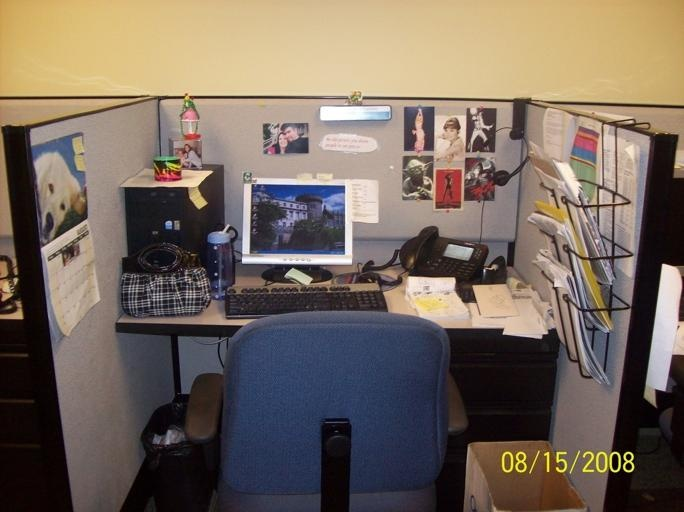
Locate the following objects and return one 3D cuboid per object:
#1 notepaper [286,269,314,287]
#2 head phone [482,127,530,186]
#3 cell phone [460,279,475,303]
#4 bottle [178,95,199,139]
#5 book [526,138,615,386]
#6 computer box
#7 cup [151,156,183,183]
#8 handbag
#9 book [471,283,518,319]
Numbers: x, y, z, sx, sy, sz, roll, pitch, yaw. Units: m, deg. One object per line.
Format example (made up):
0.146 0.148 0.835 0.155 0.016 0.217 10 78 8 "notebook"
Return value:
-0.172 0.083 2.133 0.061 0.023 0.082 -11 34 -45 "notepaper"
0.672 -0.394 2.165 0.147 0.237 0.129 2 14 10 "head phone"
0.468 0.138 2.026 0.054 0.018 0.077 5 42 6 "cell phone"
-0.614 -0.553 2.147 0.081 0.171 0.099 -5 14 -15 "bottle"
0.675 0.039 1.596 0.196 0.708 0.320 -2 14 -4 "book"
-0.703 -0.163 2.087 0.220 0.395 0.381 3 31 -13 "computer box"
-0.635 -0.317 1.957 0.086 0.071 0.092 2 24 -1 "cup"
-0.626 0.088 1.881 0.295 0.243 0.137 -7 15 -24 "handbag"
0.559 0.163 1.947 0.090 0.034 0.139 1 35 0 "book"
